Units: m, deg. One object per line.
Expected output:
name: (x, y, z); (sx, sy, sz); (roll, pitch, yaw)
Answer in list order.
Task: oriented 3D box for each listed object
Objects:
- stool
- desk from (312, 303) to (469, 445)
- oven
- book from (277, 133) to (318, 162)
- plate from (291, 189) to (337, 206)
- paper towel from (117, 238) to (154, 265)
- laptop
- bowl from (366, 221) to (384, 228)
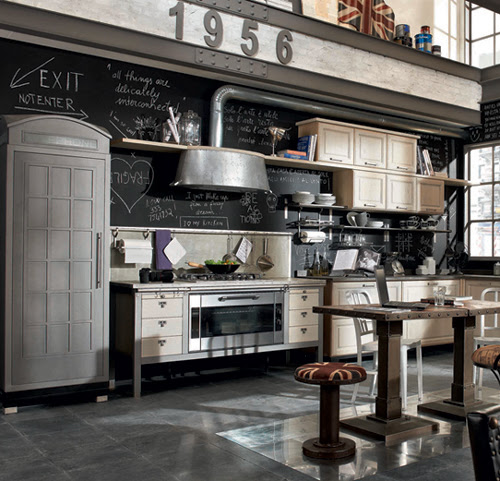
stool: (0.459, 1.011, 3.070); (0.513, 0.495, 0.487); (2, -5, -28)
desk: (0.943, 0.885, 3.411); (1.003, 0.739, 0.692); (5, -10, -16)
oven: (-0.324, 0.790, 4.946); (1.202, 0.590, 0.721); (3, -6, -38)
book: (0.563, -1.033, 5.761); (0.441, 0.282, 0.303); (5, -5, -29)
plate: (0.751, -0.470, 5.835); (0.278, 0.083, 0.272); (-4, -5, 43)
paper towel: (-1.049, 0.101, 4.653); (0.345, 0.254, 0.234); (1, -3, -29)
laptop: (1.090, 0.372, 3.640); (0.334, 0.207, 0.301); (9, -5, 17)
bowl: (1.600, -0.192, 6.401); (0.141, 0.049, 0.144); (0, -3, 0)
